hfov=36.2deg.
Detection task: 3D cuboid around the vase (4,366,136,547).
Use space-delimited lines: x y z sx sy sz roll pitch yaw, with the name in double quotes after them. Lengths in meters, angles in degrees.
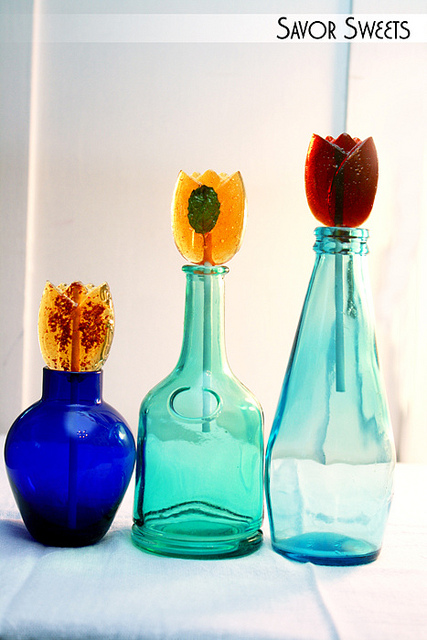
-0.069 0.067 0.383 0.072 0.113 0.080 2 3 4 "vase"
